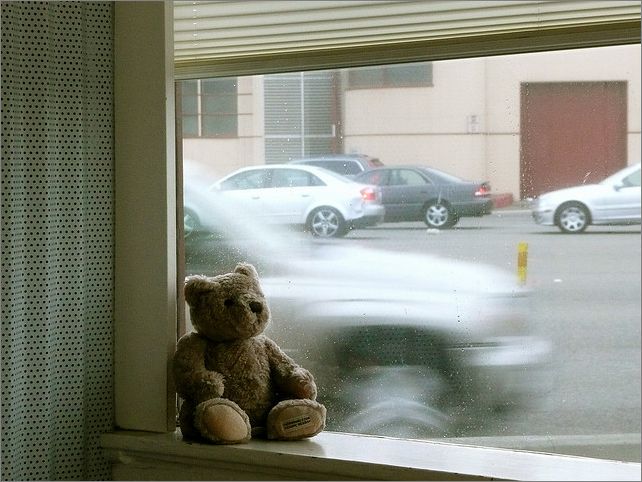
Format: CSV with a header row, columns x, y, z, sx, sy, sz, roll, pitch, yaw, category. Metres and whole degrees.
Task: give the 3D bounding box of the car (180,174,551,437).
x,y,z,sx,sy,sz,roll,pitch,yaw,category
0.266,0.249,3.643,1.490,0.838,0.736,-1,3,6,car
